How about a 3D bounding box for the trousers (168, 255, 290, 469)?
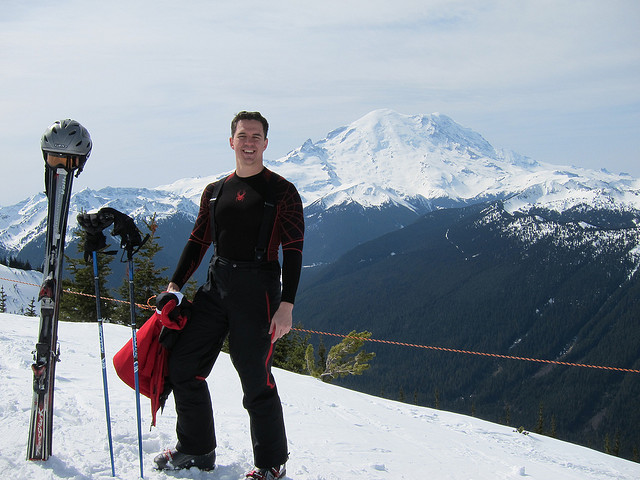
[{"bbox_3d":[-1.169,1.610,8.989,1.577,2.721,0.393,4,7,0],"label":"trousers"}]
